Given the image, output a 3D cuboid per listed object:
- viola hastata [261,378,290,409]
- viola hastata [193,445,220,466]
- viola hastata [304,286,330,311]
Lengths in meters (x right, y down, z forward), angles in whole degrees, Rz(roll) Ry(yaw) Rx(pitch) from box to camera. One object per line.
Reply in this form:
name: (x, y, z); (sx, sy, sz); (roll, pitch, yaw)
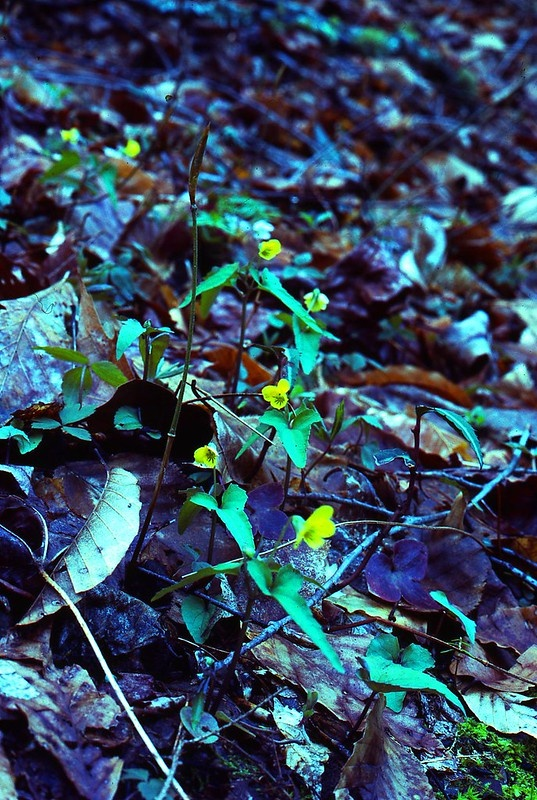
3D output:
viola hastata: (0.029, -0.018, 1.707); (0.075, 0.071, 0.036); (22, 35, -7)
viola hastata: (-0.142, 0.131, 1.629); (0.051, 0.027, 0.057); (32, 24, 33)
viola hastata: (0.140, -0.281, 2.015); (0.087, 0.077, 0.035); (8, 9, 32)
